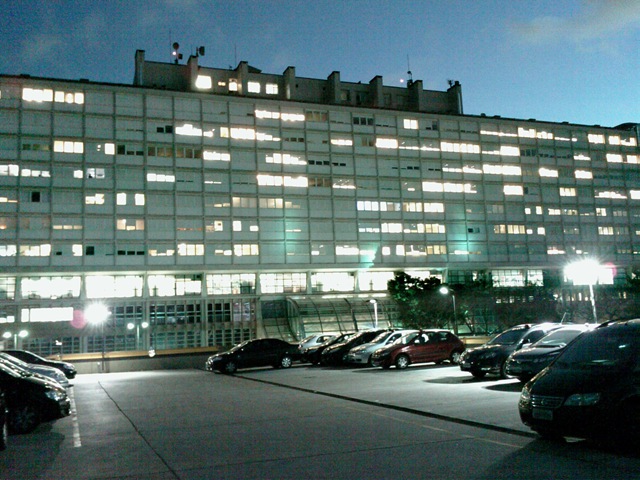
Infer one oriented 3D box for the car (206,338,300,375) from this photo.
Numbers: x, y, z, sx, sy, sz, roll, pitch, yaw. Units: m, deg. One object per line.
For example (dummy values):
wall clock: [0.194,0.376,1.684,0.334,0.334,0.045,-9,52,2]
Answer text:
car: [-3.299,6.016,34.817,4.695,1.179,1.838,3,-10,-24]
